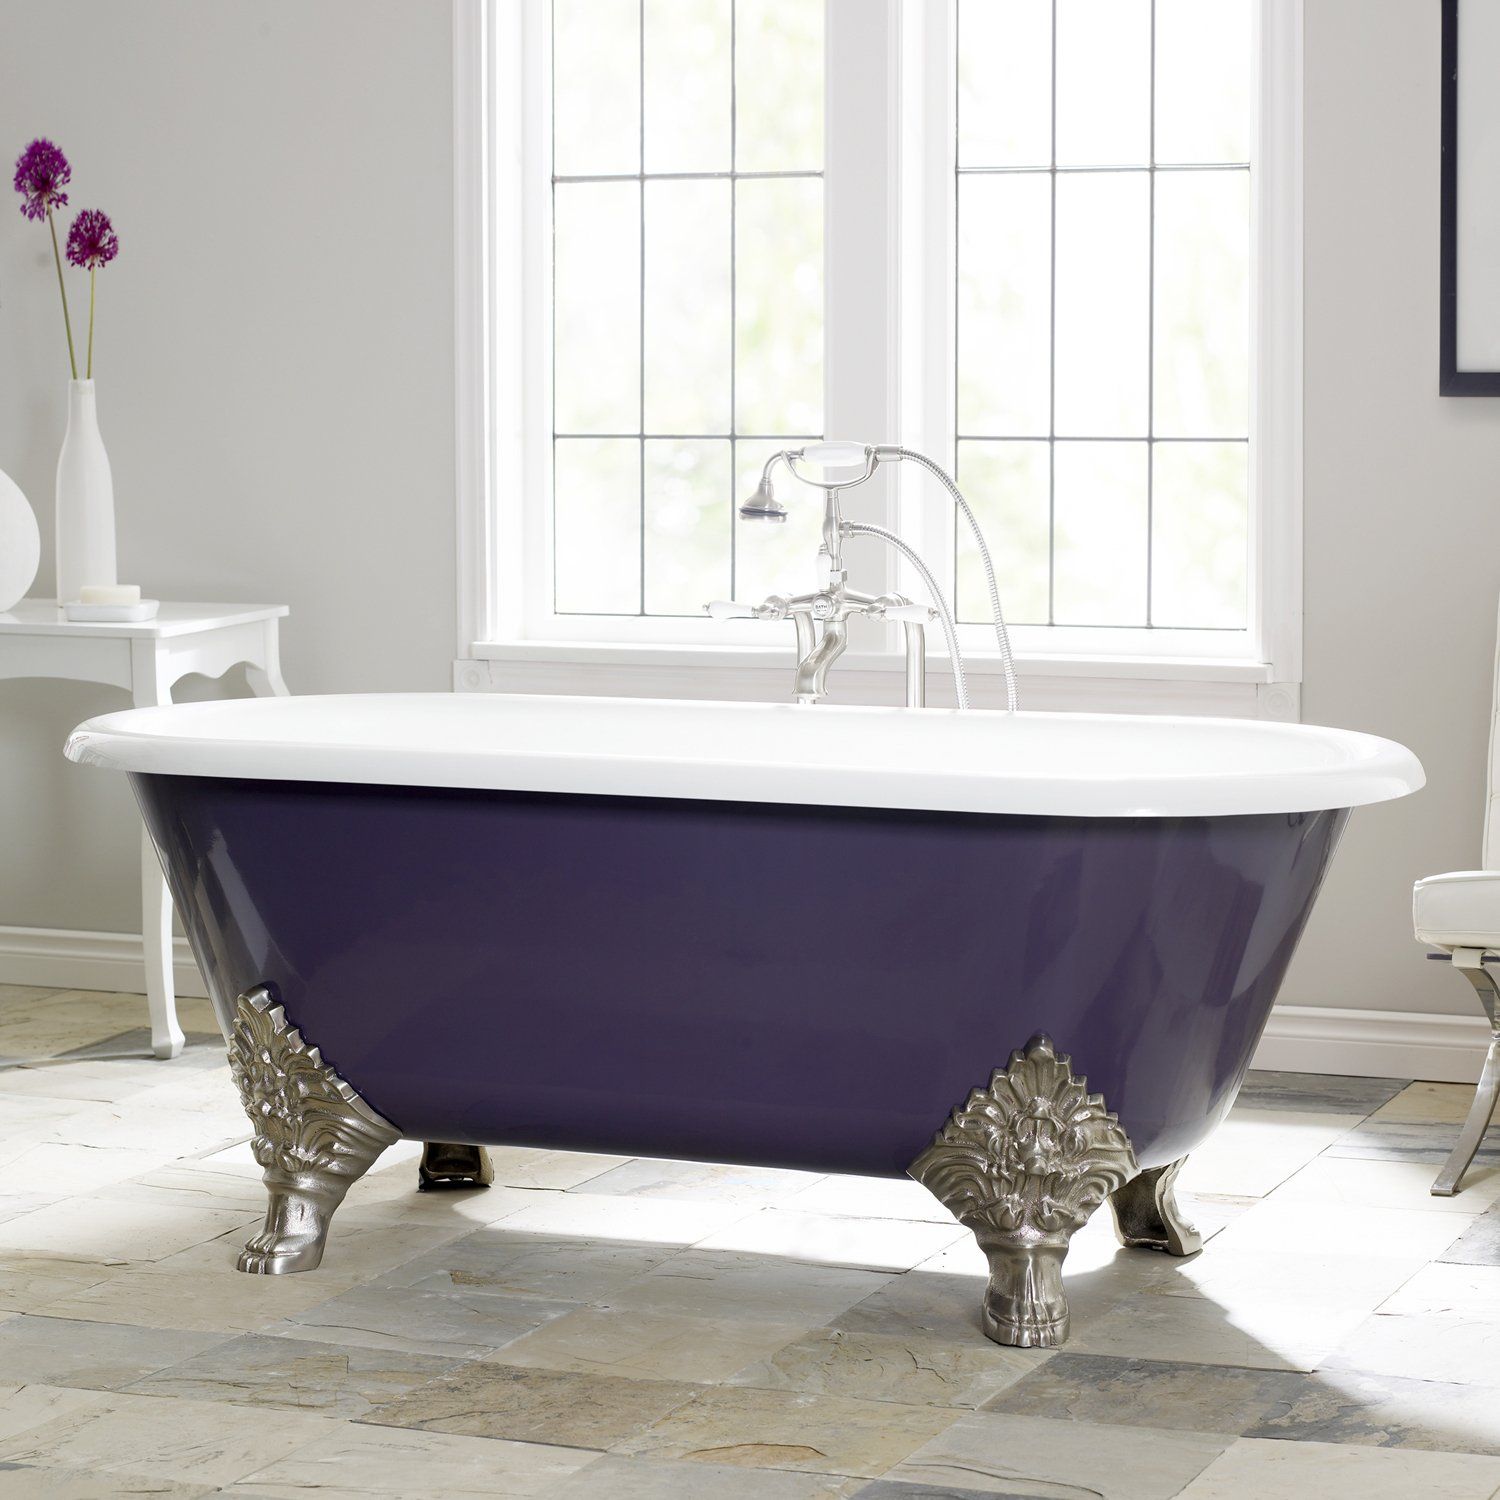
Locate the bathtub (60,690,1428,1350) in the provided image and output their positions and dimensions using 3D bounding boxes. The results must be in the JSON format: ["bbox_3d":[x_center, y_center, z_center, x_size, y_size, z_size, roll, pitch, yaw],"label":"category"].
[{"bbox_3d":[-0.013,0.307,1.877,1.378,0.640,0.326,0,2,18],"label":"bathtub"}]

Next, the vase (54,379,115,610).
[{"bbox_3d":[-1.257,-0.490,3.202,0.096,0.426,0.153,-1,2,-21],"label":"vase"}]
